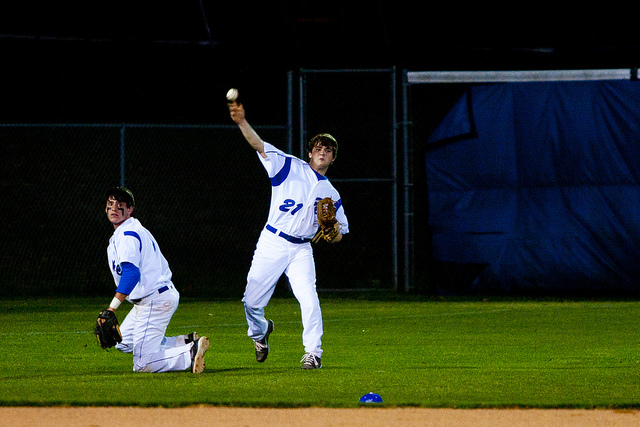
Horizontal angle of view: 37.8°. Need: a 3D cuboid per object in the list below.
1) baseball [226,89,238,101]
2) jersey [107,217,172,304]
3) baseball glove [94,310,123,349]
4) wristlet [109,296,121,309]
[{"bbox_3d":[-1.178,-1.595,12.691,0.130,0.148,0.175,2,-1,-8],"label":"baseball"},{"bbox_3d":[-2.369,0.627,12.366,0.817,1.108,0.424,2,0,-14],"label":"jersey"},{"bbox_3d":[-2.754,1.513,12.255,0.354,0.462,0.178,-2,2,18],"label":"baseball glove"},{"bbox_3d":[-2.635,1.169,12.137,0.149,0.160,0.146,32,-10,-6],"label":"wristlet"}]
